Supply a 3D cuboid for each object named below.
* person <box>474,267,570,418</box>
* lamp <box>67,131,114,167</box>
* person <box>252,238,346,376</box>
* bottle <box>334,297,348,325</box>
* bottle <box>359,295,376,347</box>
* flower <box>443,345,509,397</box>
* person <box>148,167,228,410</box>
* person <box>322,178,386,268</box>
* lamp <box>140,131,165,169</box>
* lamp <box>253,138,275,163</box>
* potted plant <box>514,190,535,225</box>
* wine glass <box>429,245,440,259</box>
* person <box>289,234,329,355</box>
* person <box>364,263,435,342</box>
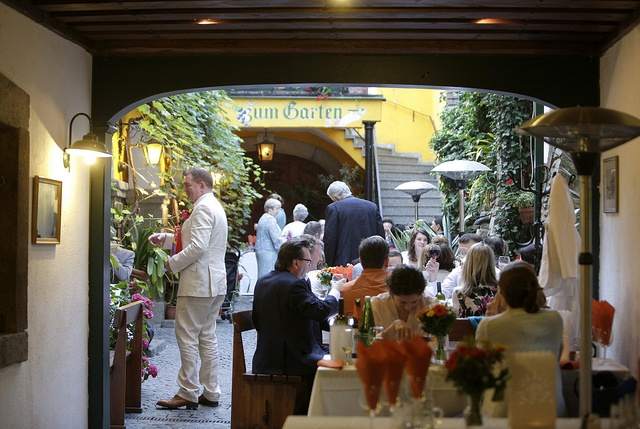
[{"bbox_3d":[1.405,0.871,4.216,0.893,1.108,0.386,3,-9,-31],"label":"person"},{"bbox_3d":[-2.060,-0.581,5.538,0.307,0.218,0.321,-1,4,-3],"label":"lamp"},{"bbox_3d":[-0.215,1.020,5.603,0.802,1.519,0.688,1,0,3],"label":"person"},{"bbox_3d":[0.155,0.773,4.945,0.113,0.198,0.336,-2,-8,1],"label":"bottle"},{"bbox_3d":[0.373,0.857,4.877,0.135,0.353,0.143,-2,12,0],"label":"bottle"},{"bbox_3d":[0.831,0.824,3.279,0.331,0.304,0.116,0,-8,-14],"label":"flower"},{"bbox_3d":[-1.325,0.774,6.650,0.647,2.561,0.490,0,-8,-15],"label":"person"},{"bbox_3d":[0.456,0.548,8.445,0.776,1.978,0.614,0,-10,-14],"label":"person"},{"bbox_3d":[-2.518,-0.980,9.498,0.425,0.662,0.504,0,2,-6],"label":"lamp"},{"bbox_3d":[-1.169,-1.321,13.033,0.377,0.552,0.409,1,0,4],"label":"lamp"},{"bbox_3d":[2.683,-0.074,8.142,0.253,0.372,0.281,-12,-14,38],"label":"potted plant"},{"bbox_3d":[1.270,0.441,6.891,0.121,0.205,0.127,-8,-24,15],"label":"wine glass"},{"bbox_3d":[-0.175,0.710,5.823,0.541,1.046,0.460,-1,16,1],"label":"person"},{"bbox_3d":[0.643,0.710,4.934,0.512,0.936,0.506,0,-13,-4],"label":"person"}]
